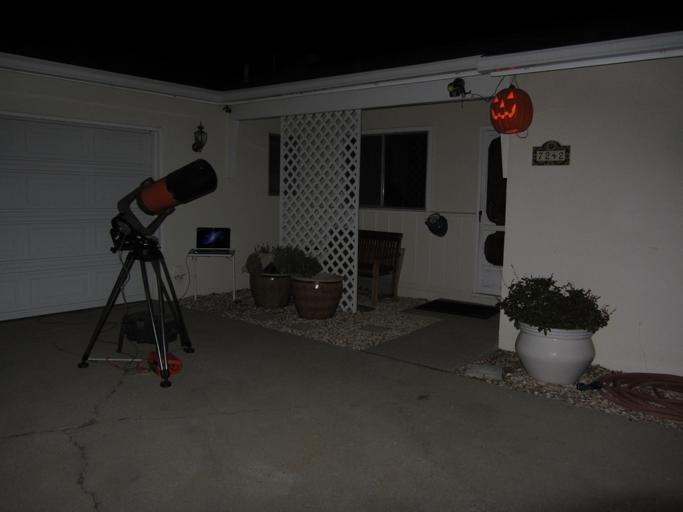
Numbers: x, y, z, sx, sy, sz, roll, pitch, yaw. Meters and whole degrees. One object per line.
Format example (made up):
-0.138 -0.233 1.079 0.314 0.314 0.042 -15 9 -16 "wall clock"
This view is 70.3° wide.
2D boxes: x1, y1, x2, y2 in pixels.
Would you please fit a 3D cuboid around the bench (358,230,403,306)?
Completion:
0.522 0.075 7.639 0.648 1.215 0.550 13 13 42 "bench"

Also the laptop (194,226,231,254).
-1.922 -0.246 7.296 0.522 0.404 0.318 0 1 -6 "laptop"

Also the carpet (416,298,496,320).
1.721 0.766 7.118 1.149 0.077 0.910 7 12 30 "carpet"

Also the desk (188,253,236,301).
-1.935 0.223 7.466 0.595 0.868 0.887 5 5 43 "desk"
